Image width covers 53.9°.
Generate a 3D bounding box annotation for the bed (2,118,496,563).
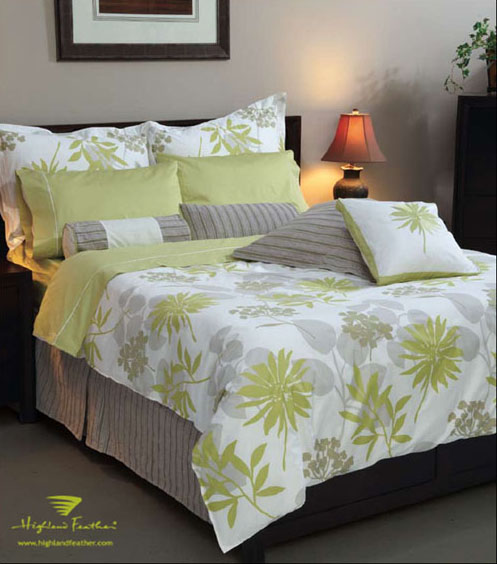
[{"bbox_3d":[-0.009,0.068,1.543,0.958,0.728,1.115,-6,16,-31],"label":"bed"}]
